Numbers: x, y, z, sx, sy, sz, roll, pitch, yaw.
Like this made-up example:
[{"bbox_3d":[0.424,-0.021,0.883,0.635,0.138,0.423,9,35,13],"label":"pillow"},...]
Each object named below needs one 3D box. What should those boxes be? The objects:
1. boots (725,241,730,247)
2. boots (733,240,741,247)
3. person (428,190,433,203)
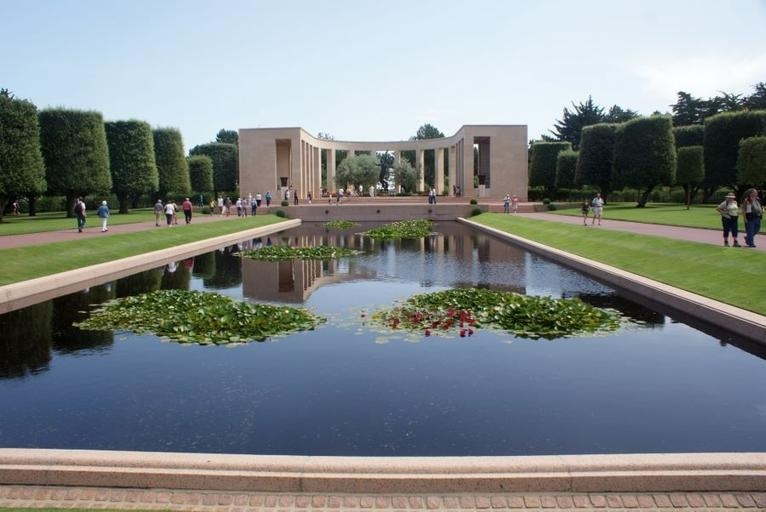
[{"bbox_3d":[11.185,-0.387,19.302,0.118,0.239,0.243,2,33,33],"label":"boots"},{"bbox_3d":[11.423,-0.397,19.191,0.280,0.271,0.126,-18,20,-38],"label":"boots"},{"bbox_3d":[4.124,-4.922,49.985,0.297,1.068,0.761,4,15,17],"label":"person"}]
